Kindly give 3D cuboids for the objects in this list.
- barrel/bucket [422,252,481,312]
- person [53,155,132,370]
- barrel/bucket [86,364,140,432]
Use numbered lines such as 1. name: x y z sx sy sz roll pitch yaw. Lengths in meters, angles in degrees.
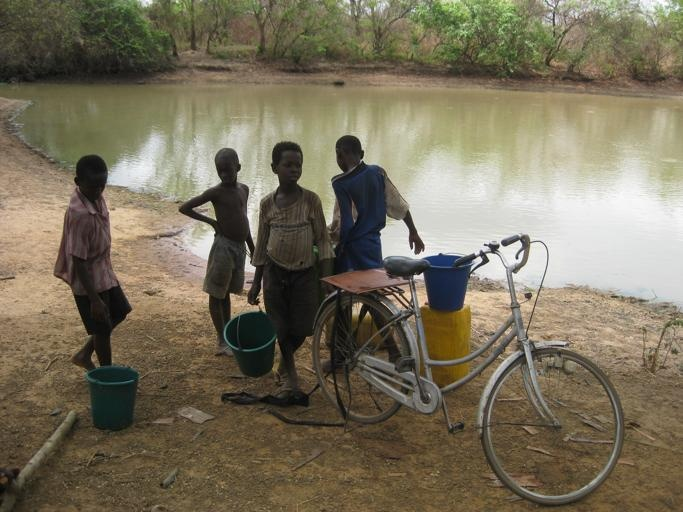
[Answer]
1. barrel/bucket: 0.851 0.203 5.233 0.440 0.389 0.424 -2 10 0
2. person: -1.983 0.126 5.148 0.538 1.822 0.523 7 20 17
3. barrel/bucket: -1.686 1.019 4.964 0.459 0.393 0.447 3 11 -1
